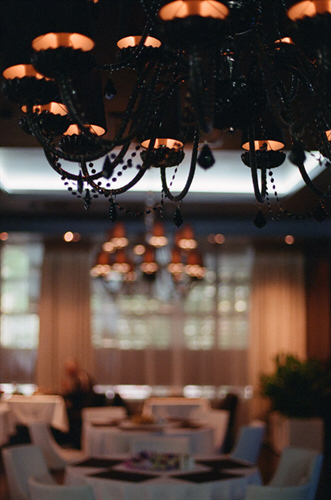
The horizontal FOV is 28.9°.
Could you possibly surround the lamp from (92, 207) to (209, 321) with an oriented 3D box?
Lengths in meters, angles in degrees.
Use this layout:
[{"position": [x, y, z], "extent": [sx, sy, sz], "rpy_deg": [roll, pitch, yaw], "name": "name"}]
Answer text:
[{"position": [-0.218, -0.025, 8.358], "extent": [1.438, 0.653, 1.388], "rpy_deg": [7, 16, 17], "name": "lamp"}]
